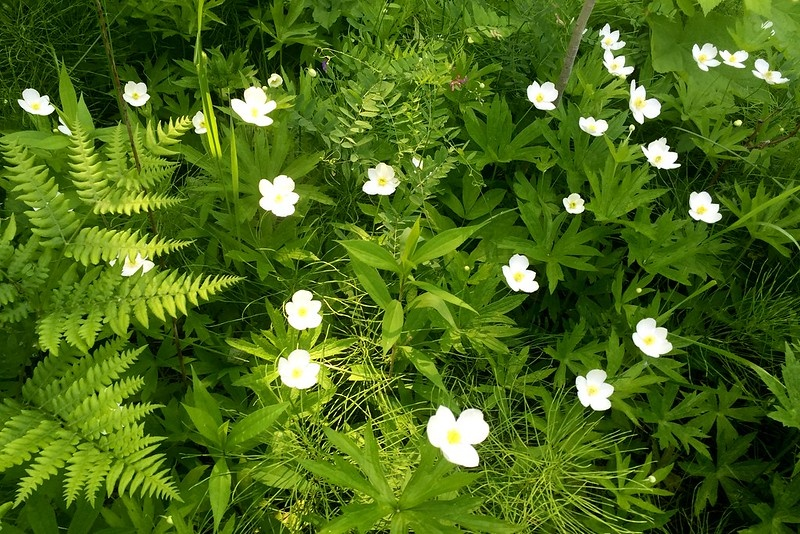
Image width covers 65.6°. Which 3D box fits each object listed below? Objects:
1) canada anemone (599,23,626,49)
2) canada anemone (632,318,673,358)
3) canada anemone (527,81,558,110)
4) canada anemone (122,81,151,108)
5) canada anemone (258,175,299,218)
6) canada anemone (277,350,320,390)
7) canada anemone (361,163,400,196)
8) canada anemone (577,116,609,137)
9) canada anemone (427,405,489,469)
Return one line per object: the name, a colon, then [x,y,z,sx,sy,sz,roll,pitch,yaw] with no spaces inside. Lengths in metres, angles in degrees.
canada anemone: [1.262,-1.359,3.733,0.129,0.095,0.186,-7,91,-12]
canada anemone: [1.230,0.367,3.108,0.171,0.096,0.203,-27,79,-6]
canada anemone: [0.790,-0.949,3.462,0.154,0.075,0.181,1,78,-6]
canada anemone: [-1.505,-0.976,3.564,0.126,0.089,0.179,-19,69,-10]
canada anemone: [-0.604,-0.356,3.133,0.179,0.150,0.246,-4,67,-4]
canada anemone: [-0.449,0.464,2.779,0.168,0.071,0.164,-31,72,-14]
canada anemone: [-0.093,-0.439,3.232,0.179,0.097,0.174,7,67,0]
canada anemone: [1.036,-0.760,3.362,0.117,0.061,0.122,12,53,-12]
canada anemone: [0.208,0.688,2.544,0.220,0.133,0.258,-25,78,-30]
